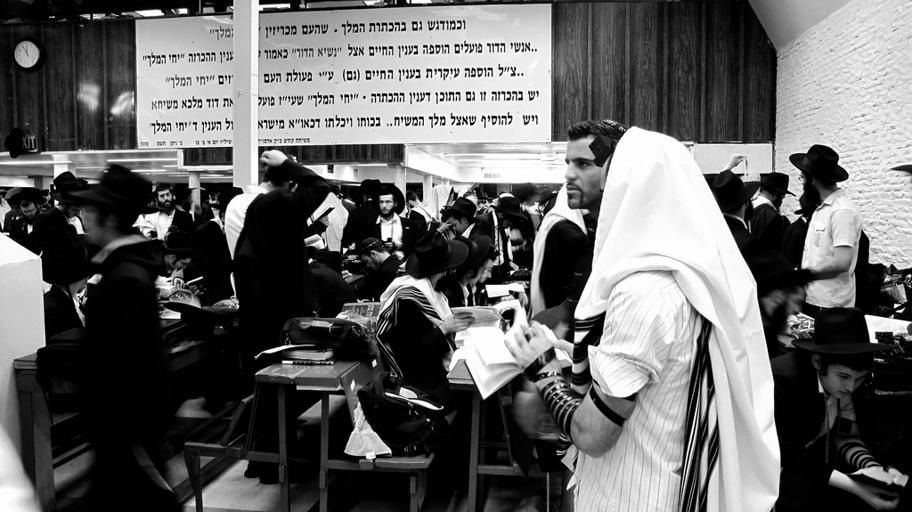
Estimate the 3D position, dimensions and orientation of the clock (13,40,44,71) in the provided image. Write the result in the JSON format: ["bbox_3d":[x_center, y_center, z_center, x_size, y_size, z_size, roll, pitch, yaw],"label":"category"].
[{"bbox_3d":[-7.745,-3.670,13.690,0.452,0.554,0.210,0,5,-22],"label":"clock"}]

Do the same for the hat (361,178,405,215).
[{"bbox_3d":[-1.275,-1.054,13.314,0.748,0.592,1.237,2,6,-5],"label":"hat"}]

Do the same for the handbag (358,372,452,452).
[{"bbox_3d":[-0.561,1.565,8.021,0.782,0.807,0.653,2,8,-4],"label":"handbag"}]

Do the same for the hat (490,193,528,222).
[{"bbox_3d":[0.869,-0.813,12.342,0.423,0.199,0.495,15,2,-11],"label":"hat"}]

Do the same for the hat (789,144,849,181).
[{"bbox_3d":[4.614,-1.220,9.474,0.715,0.256,0.690,18,-6,41],"label":"hat"}]

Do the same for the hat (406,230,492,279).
[{"bbox_3d":[-0.092,-0.027,8.254,0.663,0.250,0.562,-33,37,-23],"label":"hat"}]

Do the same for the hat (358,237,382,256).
[{"bbox_3d":[-1.182,-0.128,10.366,0.266,0.097,0.262,-17,-4,40],"label":"hat"}]

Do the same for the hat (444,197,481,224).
[{"bbox_3d":[0.171,-0.736,12.208,0.399,0.178,0.467,14,5,23],"label":"hat"}]

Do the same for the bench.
[{"bbox_3d":[-0.909,1.761,8.863,2.759,1.321,2.754,0,-2,4],"label":"bench"}]
